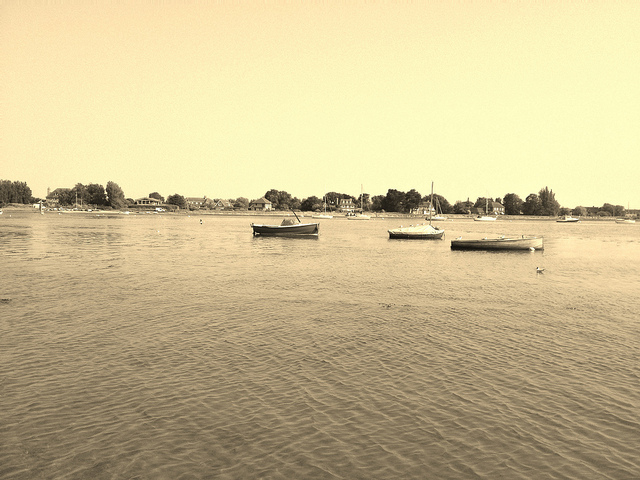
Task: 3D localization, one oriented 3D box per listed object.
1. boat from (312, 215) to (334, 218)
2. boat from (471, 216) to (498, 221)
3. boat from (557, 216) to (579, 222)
[{"bbox_3d":[0.616,-7.813,224.218,7.938,1.492,1.767,0,7,-6],"label":"boat"},{"bbox_3d":[57.109,-7.532,236.525,4.749,1.196,3.075,0,4,-34],"label":"boat"},{"bbox_3d":[84.374,-6.782,232.057,5.153,1.349,11.895,5,9,29],"label":"boat"}]
